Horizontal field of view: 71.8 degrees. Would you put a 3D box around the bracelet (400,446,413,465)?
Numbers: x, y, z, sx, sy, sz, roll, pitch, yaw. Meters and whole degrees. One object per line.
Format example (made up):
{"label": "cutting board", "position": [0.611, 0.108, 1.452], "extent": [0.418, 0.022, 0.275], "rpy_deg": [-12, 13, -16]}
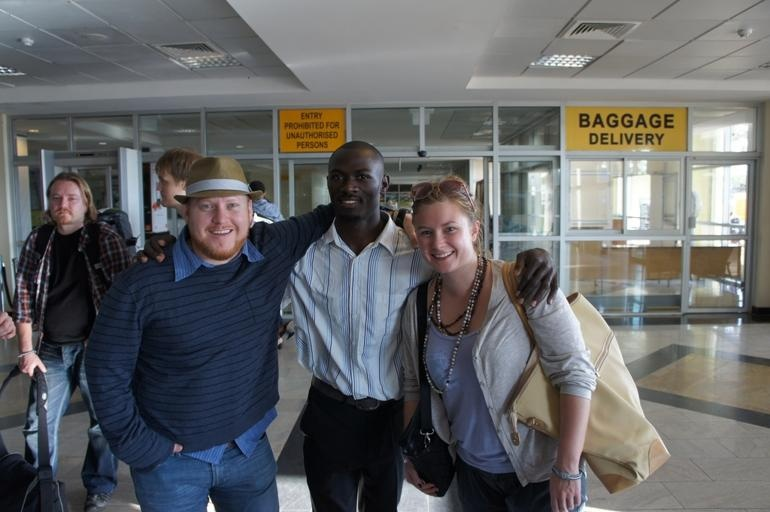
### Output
{"label": "bracelet", "position": [0.138, 1.278, 3.435], "extent": [0.094, 0.056, 0.117], "rpy_deg": [2, -2, 4]}

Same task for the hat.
{"label": "hat", "position": [-1.070, -0.482, 3.381], "extent": [0.573, 0.227, 0.614], "rpy_deg": [-2, -2, -3]}

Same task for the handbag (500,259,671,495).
{"label": "handbag", "position": [1.398, 0.876, 3.201], "extent": [1.236, 0.825, 0.428], "rpy_deg": [35, -5, -17]}

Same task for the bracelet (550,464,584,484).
{"label": "bracelet", "position": [1.074, 1.247, 3.072], "extent": [0.205, 0.105, 0.068], "rpy_deg": [-2, 13, -9]}
